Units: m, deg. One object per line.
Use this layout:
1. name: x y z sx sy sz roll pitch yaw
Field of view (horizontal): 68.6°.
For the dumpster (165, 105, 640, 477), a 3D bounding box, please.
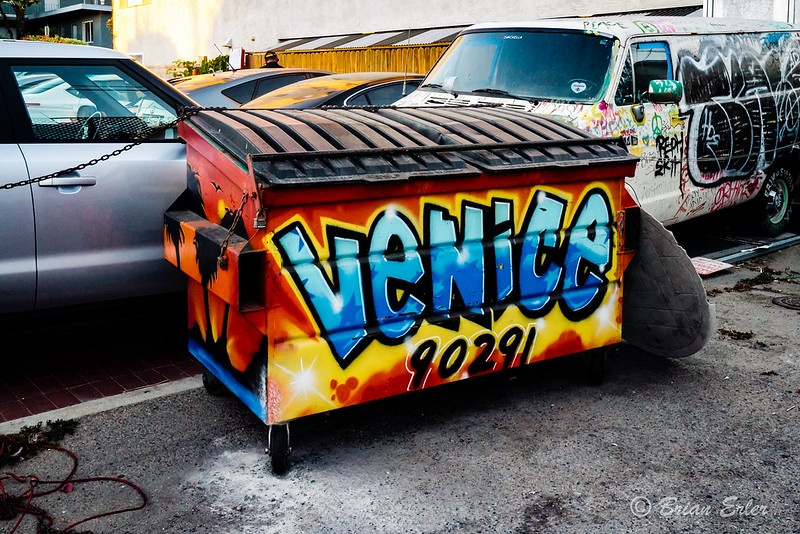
1. dumpster: 0.220 0.015 4.811 3.337 2.158 1.700 -7 9 -25
